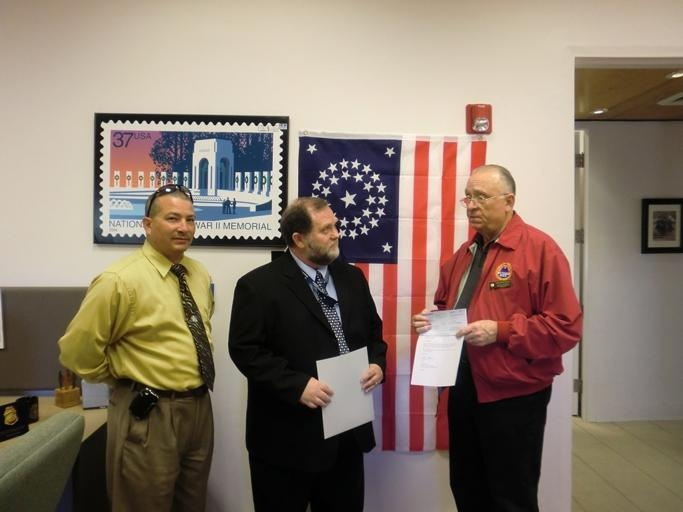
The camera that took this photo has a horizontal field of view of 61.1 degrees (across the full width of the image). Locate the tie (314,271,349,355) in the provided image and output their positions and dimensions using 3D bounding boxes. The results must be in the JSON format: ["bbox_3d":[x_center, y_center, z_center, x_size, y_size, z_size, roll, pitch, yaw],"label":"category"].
[{"bbox_3d":[-0.061,0.301,3.111,0.128,0.475,0.021,-10,-21,-22],"label":"tie"}]

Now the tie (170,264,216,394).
[{"bbox_3d":[-0.837,0.329,3.230,0.152,0.878,0.053,-7,-28,-33],"label":"tie"}]

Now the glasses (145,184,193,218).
[{"bbox_3d":[-0.948,-0.300,3.191,0.200,0.223,0.064,6,4,-20],"label":"glasses"}]
